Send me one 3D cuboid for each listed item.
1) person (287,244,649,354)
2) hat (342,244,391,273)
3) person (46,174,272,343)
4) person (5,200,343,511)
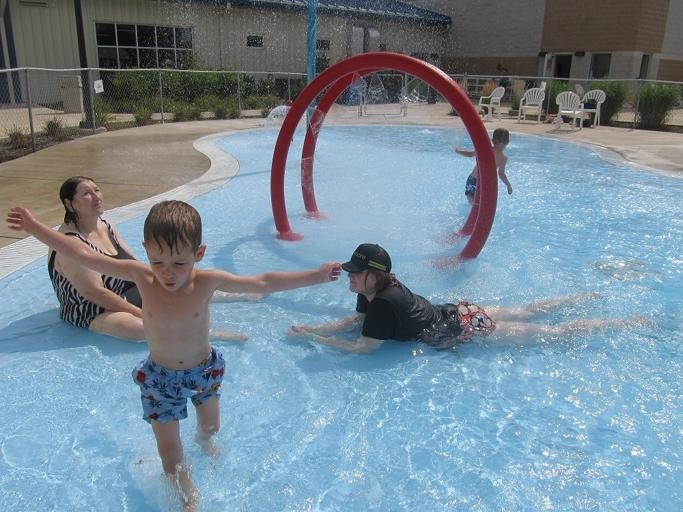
[{"bbox_3d":[0.952,0.387,4.147,3.046,0.882,0.761,3,12,-20],"label":"person"},{"bbox_3d":[0.190,0.012,3.642,0.318,0.171,0.212,3,8,-1],"label":"hat"},{"bbox_3d":[-1.446,-0.083,4.244,1.974,1.301,1.120,6,30,-5],"label":"person"},{"bbox_3d":[-0.967,0.513,2.681,1.577,1.717,0.668,7,23,19],"label":"person"}]
